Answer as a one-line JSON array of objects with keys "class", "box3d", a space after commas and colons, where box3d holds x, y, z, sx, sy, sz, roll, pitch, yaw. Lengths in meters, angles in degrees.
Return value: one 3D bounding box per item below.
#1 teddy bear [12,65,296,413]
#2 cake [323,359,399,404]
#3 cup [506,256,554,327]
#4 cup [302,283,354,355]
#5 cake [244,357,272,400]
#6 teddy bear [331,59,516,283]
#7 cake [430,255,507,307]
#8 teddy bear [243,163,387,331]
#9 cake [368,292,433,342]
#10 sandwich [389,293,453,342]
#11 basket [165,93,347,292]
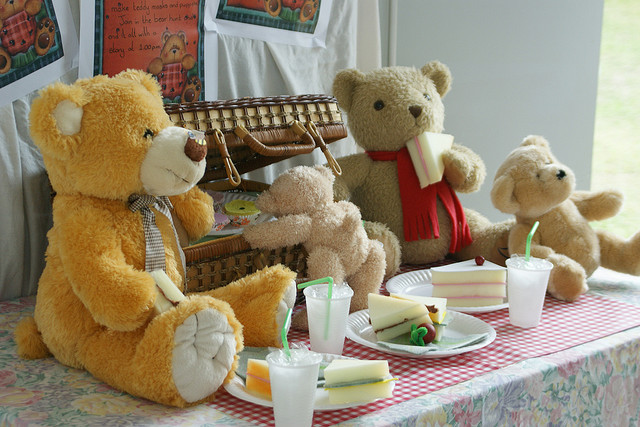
[{"class": "teddy bear", "box3d": [-0.349, 0.034, 1.087, 0.559, 0.556, 0.524, 6, 13, 0]}, {"class": "cake", "box3d": [0.068, 0.291, 0.936, 0.120, 0.064, 0.096, -9, 3, -5]}, {"class": "cup", "box3d": [0.454, 0.171, 1.209, 0.116, 0.147, 0.091, -6, 19, -30]}, {"class": "cup", "box3d": [0.011, 0.200, 1.051, 0.134, 0.150, 0.123, 1, 2, 0]}, {"class": "cake", "box3d": [-0.094, 0.296, 0.945, 0.060, 0.066, 0.076, 13, -15, -19]}, {"class": "teddy bear", "box3d": [0.270, -0.105, 1.590, 0.502, 0.600, 0.487, 4, 5, 11]}, {"class": "cake", "box3d": [0.350, 0.166, 1.313, 0.188, 0.110, 0.182, -3, 12, -16]}, {"class": "teddy bear", "box3d": [0.004, 0.085, 1.298, 0.268, 0.381, 0.396, -4, 19, -2]}, {"class": "cake", "box3d": [0.155, 0.208, 1.141, 0.139, 0.084, 0.138, -4, 12, -16]}, {"class": "sandwich", "box3d": [0.171, 0.206, 1.106, 0.140, 0.084, 0.211, 2, 6, 15]}, {"class": "basket", "box3d": [-0.198, -0.104, 1.319, 0.564, 0.421, 0.412, -11, 33, -40]}]
